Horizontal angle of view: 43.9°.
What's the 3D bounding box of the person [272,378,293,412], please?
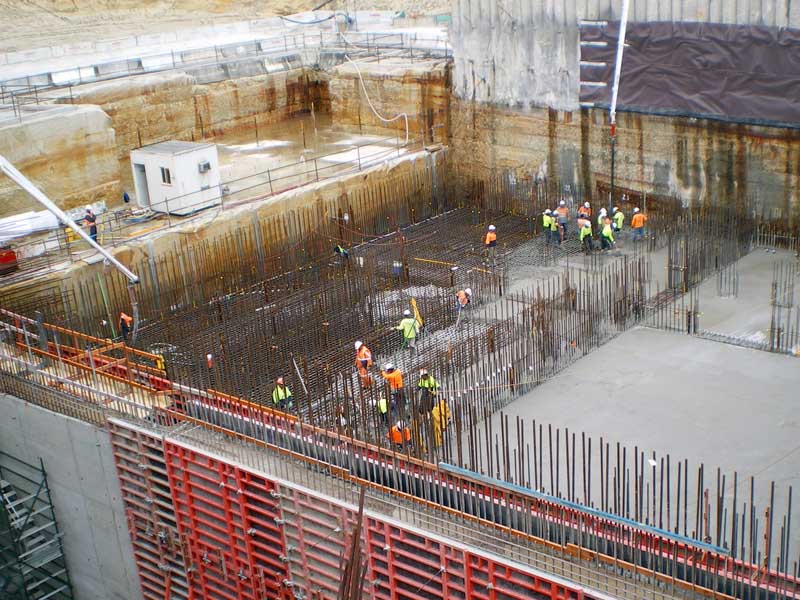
[{"bbox_3d":[-2.365,1.892,19.612,0.384,0.771,0.271,-25,34,-35],"label":"person"}]
